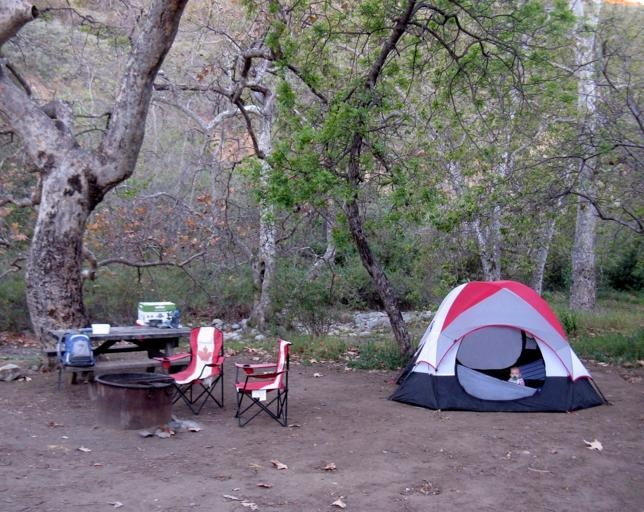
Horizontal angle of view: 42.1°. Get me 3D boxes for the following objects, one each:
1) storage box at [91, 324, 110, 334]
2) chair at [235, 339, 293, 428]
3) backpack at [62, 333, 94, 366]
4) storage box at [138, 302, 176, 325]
[{"bbox_3d":[-3.905,1.293,14.817,0.188,0.102,0.217,2,0,16],"label":"storage box"},{"bbox_3d":[-1.057,2.156,14.312,0.916,1.408,1.139,1,1,-5],"label":"chair"},{"bbox_3d":[-4.214,1.610,14.405,0.498,0.509,0.554,-2,12,-18],"label":"backpack"},{"bbox_3d":[-3.128,1.100,15.861,0.589,0.436,0.446,0,1,-16],"label":"storage box"}]
